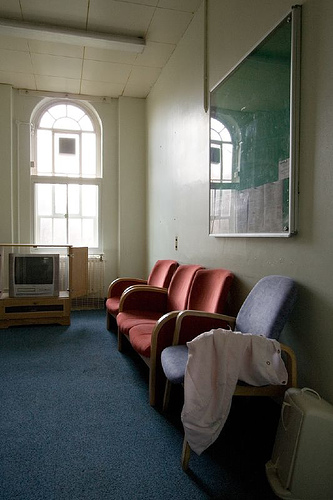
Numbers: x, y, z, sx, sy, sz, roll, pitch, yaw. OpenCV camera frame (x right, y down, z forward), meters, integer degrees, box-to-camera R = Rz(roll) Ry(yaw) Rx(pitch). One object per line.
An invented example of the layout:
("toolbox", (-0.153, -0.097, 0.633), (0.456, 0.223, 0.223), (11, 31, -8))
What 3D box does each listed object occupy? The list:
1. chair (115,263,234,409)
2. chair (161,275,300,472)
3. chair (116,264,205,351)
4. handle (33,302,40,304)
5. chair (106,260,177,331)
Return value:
("chair", (0.010, 0.535, 2.857), (0.595, 0.874, 1.168), (7, 0, -16))
("chair", (0.323, 0.571, 1.950), (0.658, 0.927, 0.736), (3, -1, 10))
("chair", (-0.105, 0.471, 3.303), (0.721, 1.031, 0.644), (1, 1, -29))
("handle", (-1.465, 0.589, 4.182), (0.059, 0.020, 0.005), (-3, 7, -2))
("chair", (-0.262, 0.483, 3.964), (0.712, 1.040, 0.657), (2, 1, -22))
